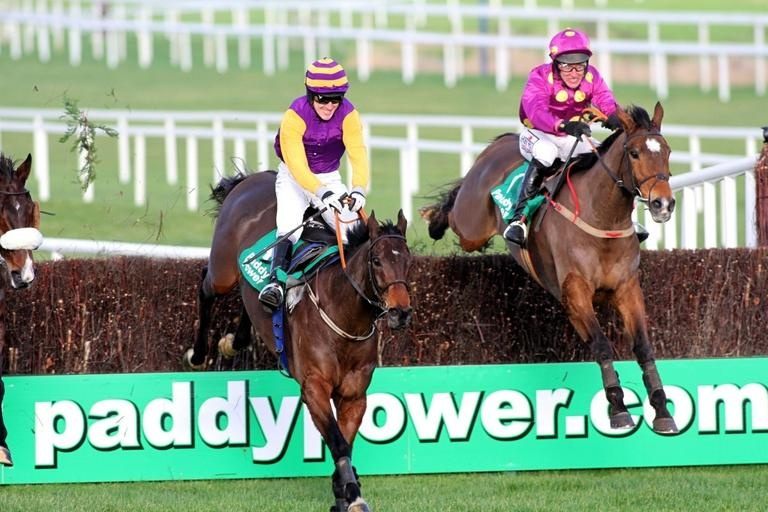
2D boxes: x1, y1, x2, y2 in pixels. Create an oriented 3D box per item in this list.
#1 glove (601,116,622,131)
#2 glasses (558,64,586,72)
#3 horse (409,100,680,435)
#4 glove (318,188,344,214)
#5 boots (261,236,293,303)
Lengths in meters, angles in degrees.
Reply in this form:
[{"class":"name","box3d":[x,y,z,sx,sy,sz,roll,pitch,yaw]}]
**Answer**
[{"class":"glove","box3d":[2.518,-1.463,16.547,0.179,0.067,0.143,5,35,0]},{"class":"glasses","box3d":[2.134,-2.122,16.941,0.311,0.092,0.119,-2,0,-8]},{"class":"horse","box3d":[2.093,0.157,17.175,0.855,3.672,3.038,-1,0,-32]},{"class":"glove","box3d":[-0.562,-0.595,15.947,0.239,0.066,0.244,-16,59,-41]},{"class":"boots","box3d":[-1.158,0.201,16.241,0.287,0.267,0.951,20,43,-7]}]
